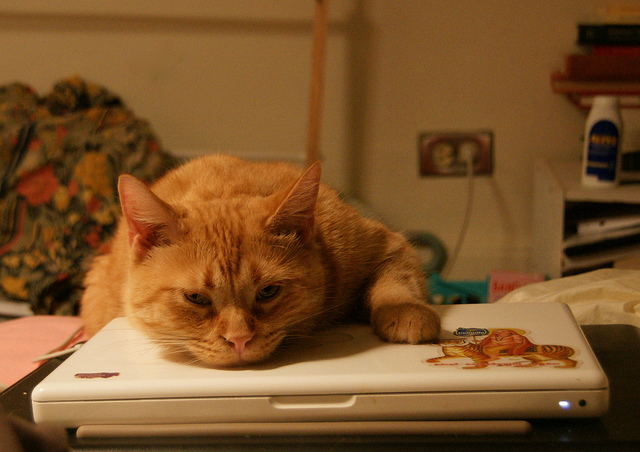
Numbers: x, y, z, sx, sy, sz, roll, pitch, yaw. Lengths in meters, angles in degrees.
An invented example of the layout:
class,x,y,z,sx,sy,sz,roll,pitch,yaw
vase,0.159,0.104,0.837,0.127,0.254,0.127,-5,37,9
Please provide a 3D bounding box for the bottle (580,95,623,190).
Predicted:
class,x,y,z,sx,sy,sz,roll,pitch,yaw
bottle,0.874,-0.262,1.928,0.114,0.278,0.137,3,19,25

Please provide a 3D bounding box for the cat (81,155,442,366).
class,x,y,z,sx,sy,sz,roll,pitch,yaw
cat,-0.150,0.089,1.310,0.534,0.240,0.559,-2,4,-7
